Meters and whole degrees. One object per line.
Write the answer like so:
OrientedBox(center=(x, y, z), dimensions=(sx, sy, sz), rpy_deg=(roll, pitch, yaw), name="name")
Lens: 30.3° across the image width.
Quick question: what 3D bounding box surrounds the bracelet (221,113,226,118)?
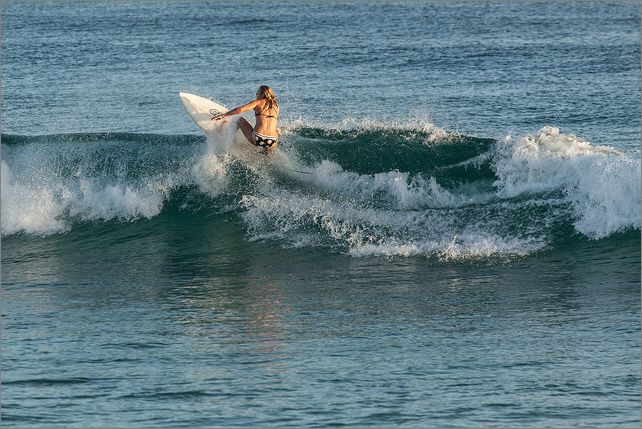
OrientedBox(center=(-3.189, -3.218, 38.736), dimensions=(0.192, 0.138, 0.054), rpy_deg=(-2, 9, -11), name="bracelet")
